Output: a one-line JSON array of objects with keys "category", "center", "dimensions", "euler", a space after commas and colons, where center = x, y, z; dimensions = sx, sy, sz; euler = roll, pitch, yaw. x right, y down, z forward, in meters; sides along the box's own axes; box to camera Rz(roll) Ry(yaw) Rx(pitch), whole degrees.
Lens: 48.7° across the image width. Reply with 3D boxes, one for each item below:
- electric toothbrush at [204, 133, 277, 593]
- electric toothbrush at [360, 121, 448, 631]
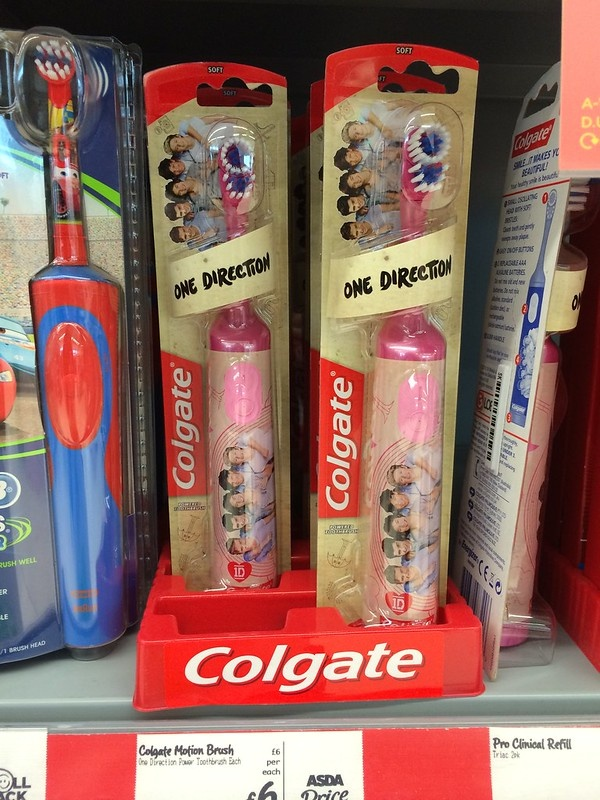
[{"category": "electric toothbrush", "center": [-0.058, 0.044, 0.648], "dimensions": [0.066, 0.276, 0.095], "euler": [-3, 20, -8]}, {"category": "electric toothbrush", "center": [0.096, 0.062, 0.596], "dimensions": [0.068, 0.285, 0.114], "euler": [3, 20, 8]}]
